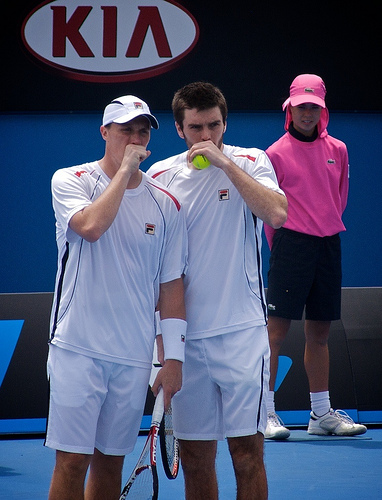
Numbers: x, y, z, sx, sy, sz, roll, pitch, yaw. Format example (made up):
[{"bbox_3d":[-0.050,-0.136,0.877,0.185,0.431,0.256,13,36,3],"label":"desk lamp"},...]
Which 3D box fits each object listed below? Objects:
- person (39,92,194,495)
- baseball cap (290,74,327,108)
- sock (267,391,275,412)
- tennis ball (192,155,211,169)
[{"bbox_3d":[-0.238,0.154,2.155,0.576,1.412,0.387,-1,2,-25],"label":"person"},{"bbox_3d":[0.689,-0.924,3.642,0.240,0.225,0.380,5,7,19],"label":"baseball cap"},{"bbox_3d":[0.451,0.852,3.488,0.029,0.131,0.117,1,2,9],"label":"sock"},{"bbox_3d":[0.038,-0.329,2.311,0.040,0.046,0.052,-12,11,-25],"label":"tennis ball"}]
